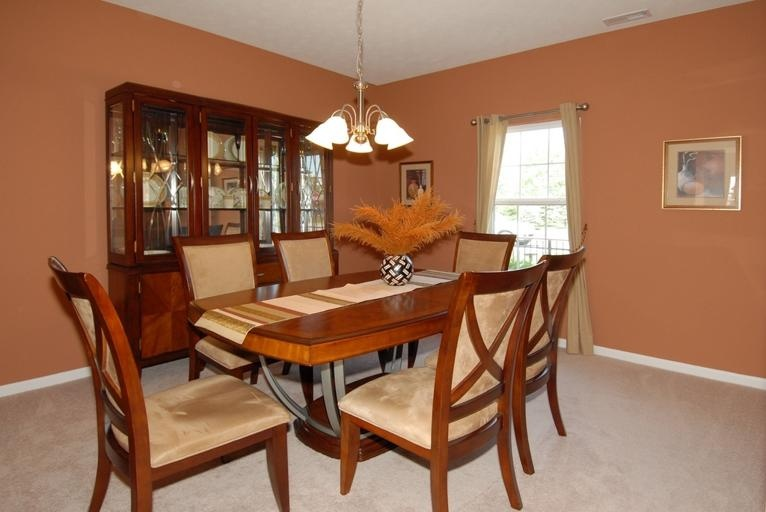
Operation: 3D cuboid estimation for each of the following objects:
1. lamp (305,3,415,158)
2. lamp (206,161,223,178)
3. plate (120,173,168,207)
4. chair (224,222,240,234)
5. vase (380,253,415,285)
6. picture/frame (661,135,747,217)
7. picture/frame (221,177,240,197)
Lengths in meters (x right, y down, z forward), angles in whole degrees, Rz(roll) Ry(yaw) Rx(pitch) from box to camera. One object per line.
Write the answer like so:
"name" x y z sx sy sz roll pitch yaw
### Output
"lamp" -0.267 -1.847 5.551 0.862 1.585 0.942 14 22 39
"lamp" -1.614 -0.821 5.113 0.120 0.115 0.243 0 12 -19
"plate" -2.122 -0.584 4.730 0.058 0.306 0.215 4 9 43
"chair" -1.472 -0.284 5.251 0.112 0.201 0.131 -3 8 -35
"vase" 0.103 0.092 4.372 0.224 0.232 0.232 -2 5 2
"picture/frame" 2.943 -0.741 4.901 0.707 0.847 0.061 3 5 37
"picture/frame" -1.494 -0.670 5.218 0.173 0.180 0.017 -10 10 -42
